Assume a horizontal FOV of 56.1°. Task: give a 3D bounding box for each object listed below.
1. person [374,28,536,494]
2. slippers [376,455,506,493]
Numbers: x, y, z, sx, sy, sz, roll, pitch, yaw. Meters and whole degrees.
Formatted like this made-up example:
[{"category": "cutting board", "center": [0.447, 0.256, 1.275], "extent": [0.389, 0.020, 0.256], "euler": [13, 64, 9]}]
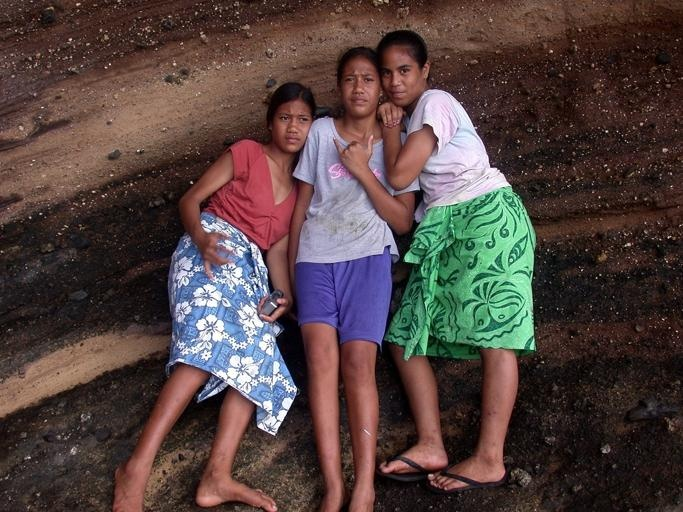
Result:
[{"category": "person", "center": [0.567, 0.014, 3.108], "extent": [0.737, 1.726, 1.441], "euler": [-2, 37, 6]}, {"category": "slippers", "center": [0.471, 1.061, 3.067], "extent": [0.592, 0.104, 0.242], "euler": [3, 18, 7]}]
